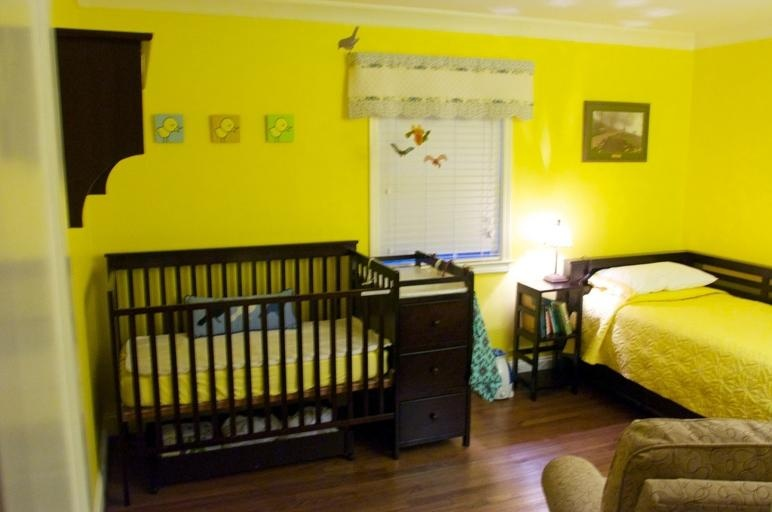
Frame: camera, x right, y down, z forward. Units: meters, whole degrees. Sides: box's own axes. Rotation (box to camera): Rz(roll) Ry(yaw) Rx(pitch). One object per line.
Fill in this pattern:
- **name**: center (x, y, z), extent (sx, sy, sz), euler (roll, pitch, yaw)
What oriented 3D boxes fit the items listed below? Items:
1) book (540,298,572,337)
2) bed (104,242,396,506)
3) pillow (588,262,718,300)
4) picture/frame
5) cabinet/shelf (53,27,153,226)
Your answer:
- **book**: center (1.249, 0.459, 4.488), extent (0.302, 0.263, 0.163), euler (-3, 6, -21)
- **bed**: center (-1.064, 0.643, 3.778), extent (1.947, 1.266, 1.064), euler (1, 3, -39)
- **pillow**: center (2.030, 0.156, 4.555), extent (0.661, 0.121, 0.379), euler (-3, 7, -22)
- **picture/frame**: center (1.783, -0.993, 4.770), extent (0.539, 0.401, 0.039), euler (-2, 5, -16)
- **cabinet/shelf**: center (-1.150, -0.528, 2.539), extent (0.389, 0.788, 0.125), euler (-5, 10, -17)
